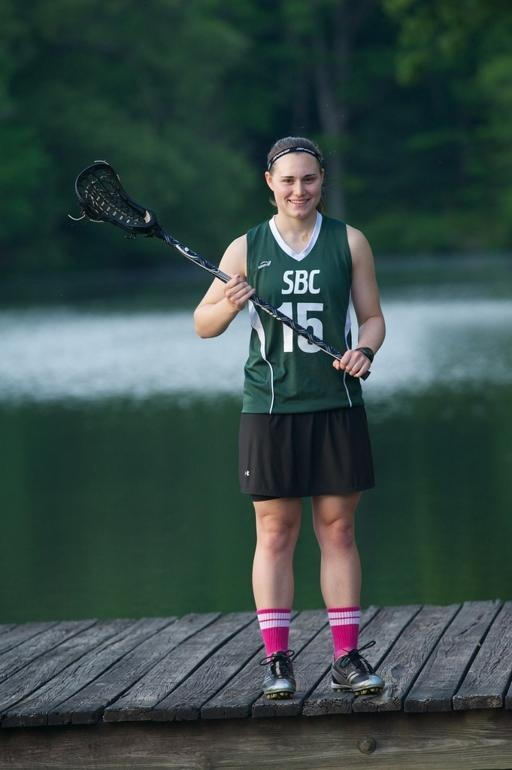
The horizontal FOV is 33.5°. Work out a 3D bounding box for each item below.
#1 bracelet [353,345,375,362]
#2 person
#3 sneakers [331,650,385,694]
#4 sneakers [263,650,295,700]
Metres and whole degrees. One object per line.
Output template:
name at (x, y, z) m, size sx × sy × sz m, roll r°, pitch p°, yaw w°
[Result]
bracelet at (0.276, -0.076, 2.171) m, size 0.041 × 0.021 × 0.045 m, roll 25°, pitch 19°, yaw -1°
person at (0.119, 0.070, 2.224) m, size 0.504 × 1.093 × 0.326 m, roll -5°, pitch -2°, yaw -5°
sneakers at (0.253, 0.733, 2.179) m, size 0.069 × 0.073 × 0.164 m, roll 3°, pitch -8°, yaw -33°
sneakers at (0.056, 0.742, 2.172) m, size 0.084 × 0.084 × 0.143 m, roll -5°, pitch -2°, yaw 0°
